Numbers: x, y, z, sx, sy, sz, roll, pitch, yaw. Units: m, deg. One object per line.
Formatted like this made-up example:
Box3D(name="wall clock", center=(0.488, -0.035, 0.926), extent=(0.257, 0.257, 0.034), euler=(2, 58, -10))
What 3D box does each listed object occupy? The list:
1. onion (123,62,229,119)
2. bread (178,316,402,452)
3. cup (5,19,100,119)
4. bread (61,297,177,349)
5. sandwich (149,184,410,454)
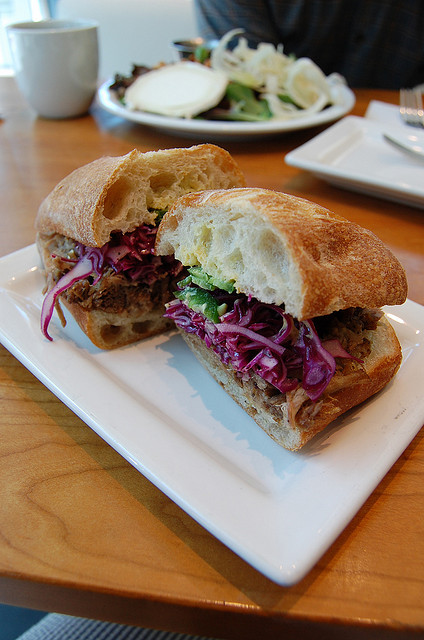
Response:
Box3D(name="onion", center=(-0.162, -1.145, 2.695), extent=(0.477, 0.190, 0.411), euler=(29, 45, 26))
Box3D(name="bread", center=(0.299, 0.153, 1.285), extent=(0.351, 0.080, 0.344), euler=(-18, 41, -38))
Box3D(name="cup", center=(-0.849, -1.330, 2.929), extent=(0.528, 0.407, 0.518), euler=(0, 33, 0))
Box3D(name="bread", center=(-0.282, -0.027, 1.609), extent=(0.272, 0.288, 0.071), euler=(15, 56, -20))
Box3D(name="sandwich", center=(0.190, -0.081, 1.442), extent=(0.520, 0.507, 0.711), euler=(-10, 25, -21))
